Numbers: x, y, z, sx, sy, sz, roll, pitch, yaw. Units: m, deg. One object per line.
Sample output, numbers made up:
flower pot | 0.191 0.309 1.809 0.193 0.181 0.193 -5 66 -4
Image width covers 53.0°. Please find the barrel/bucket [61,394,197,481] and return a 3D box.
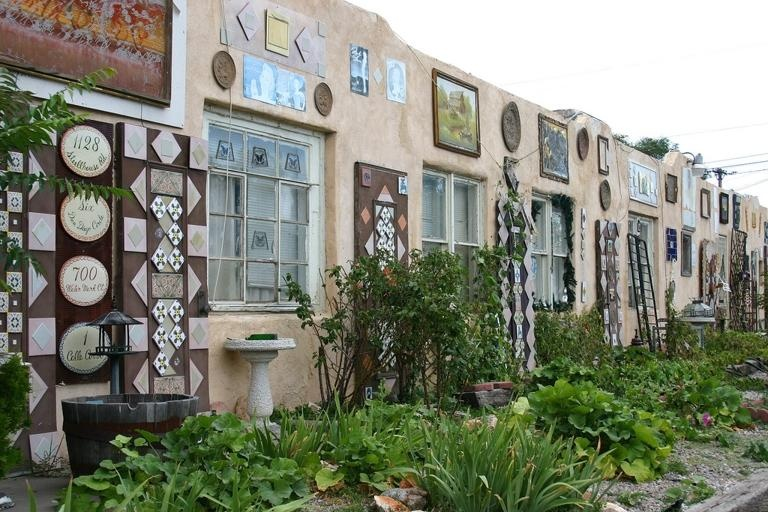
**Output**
barrel/bucket | -2.152 1.430 6.523 0.845 0.596 0.770 1 -11 0
